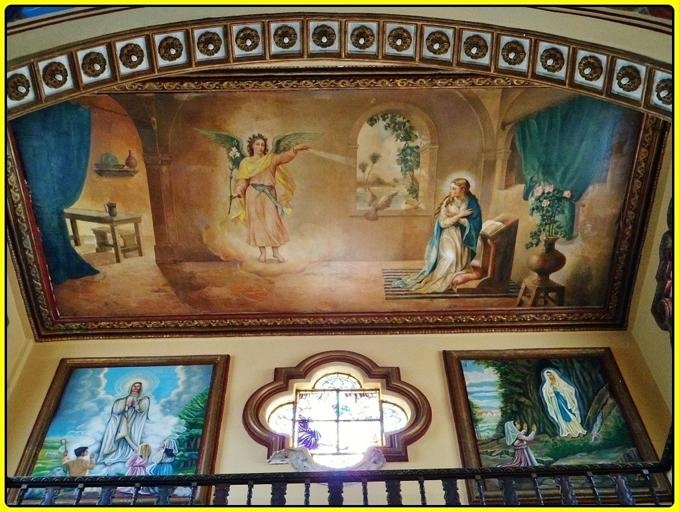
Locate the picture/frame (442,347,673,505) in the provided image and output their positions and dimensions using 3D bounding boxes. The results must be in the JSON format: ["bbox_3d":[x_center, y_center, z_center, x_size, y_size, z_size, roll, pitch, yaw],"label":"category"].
[{"bbox_3d":[3.117,2.446,7.677,2.708,2.613,0.182,1,-47,0],"label":"picture/frame"}]

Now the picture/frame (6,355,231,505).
[{"bbox_3d":[-3.212,2.558,7.835,3.186,2.940,0.217,-1,-55,-3],"label":"picture/frame"}]

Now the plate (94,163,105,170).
[{"bbox_3d":[-3.812,-1.413,8.627,0.111,0.081,0.112,24,10,30],"label":"plate"}]
